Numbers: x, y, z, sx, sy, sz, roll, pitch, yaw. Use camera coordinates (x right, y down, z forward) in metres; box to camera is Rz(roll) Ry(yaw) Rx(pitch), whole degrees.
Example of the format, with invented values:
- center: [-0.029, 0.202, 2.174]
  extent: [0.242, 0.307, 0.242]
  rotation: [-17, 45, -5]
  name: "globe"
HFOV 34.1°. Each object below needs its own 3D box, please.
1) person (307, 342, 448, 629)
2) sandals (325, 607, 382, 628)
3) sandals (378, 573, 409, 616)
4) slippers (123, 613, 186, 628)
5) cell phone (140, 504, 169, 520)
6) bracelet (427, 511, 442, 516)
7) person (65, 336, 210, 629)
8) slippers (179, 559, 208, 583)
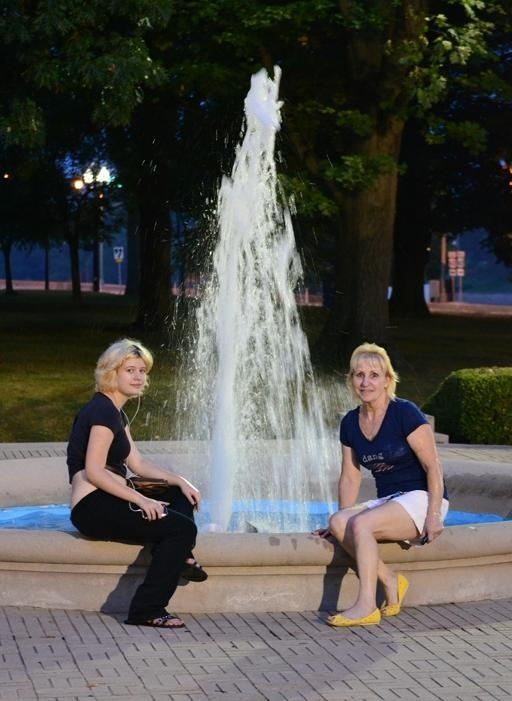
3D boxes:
- center: [0.564, 0.590, 3.727]
  extent: [0.559, 1.206, 0.670]
  rotation: [3, 5, 12]
  name: "person"
- center: [0.413, 1.125, 3.536]
  extent: [0.234, 0.076, 0.081]
  rotation: [2, -5, -7]
  name: "sandals"
- center: [0.646, 1.079, 3.737]
  extent: [0.088, 0.082, 0.238]
  rotation: [-11, 19, 38]
  name: "sandals"
- center: [-0.403, 1.092, 3.435]
  extent: [0.206, 0.054, 0.082]
  rotation: [-2, 3, 10]
  name: "slippers"
- center: [-0.425, 0.678, 3.501]
  extent: [0.115, 0.061, 0.074]
  rotation: [1, 4, -5]
  name: "cell phone"
- center: [0.769, 0.705, 3.611]
  extent: [0.041, 0.026, 0.023]
  rotation: [-2, -2, 3]
  name: "bracelet"
- center: [-0.526, 0.560, 3.714]
  extent: [0.610, 1.190, 0.777]
  rotation: [1, 5, -10]
  name: "person"
- center: [-0.281, 0.953, 3.580]
  extent: [0.066, 0.064, 0.173]
  rotation: [-22, -37, 15]
  name: "slippers"
